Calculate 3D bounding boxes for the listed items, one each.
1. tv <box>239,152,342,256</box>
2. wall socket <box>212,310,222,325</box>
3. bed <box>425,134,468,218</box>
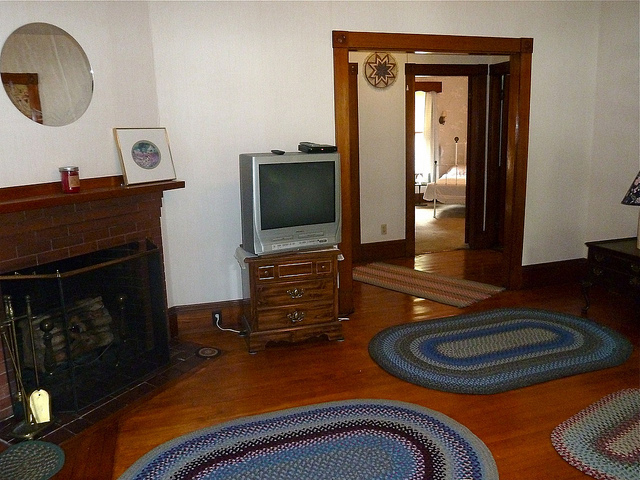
[{"bbox_3d":[-0.243,-0.301,3.845,0.741,0.701,0.398,-7,13,-24],"label":"tv"},{"bbox_3d":[-0.908,0.684,4.296,0.087,0.135,0.022,-6,16,-16],"label":"wall socket"},{"bbox_3d":[2.809,-1.203,10.251,1.092,1.106,1.750,2,6,10],"label":"bed"}]
